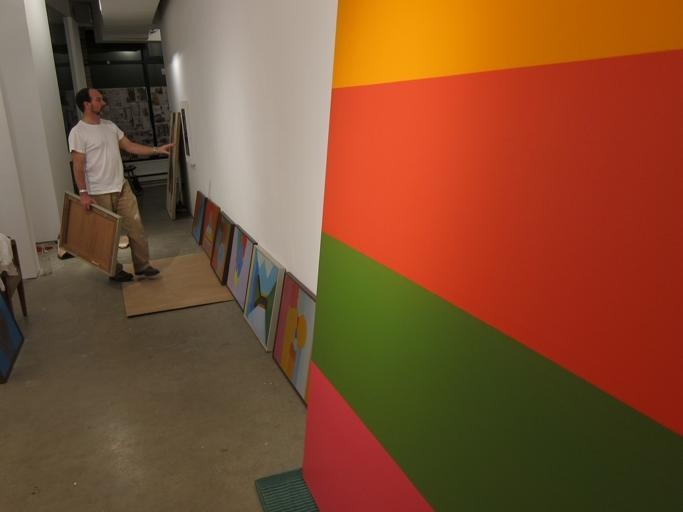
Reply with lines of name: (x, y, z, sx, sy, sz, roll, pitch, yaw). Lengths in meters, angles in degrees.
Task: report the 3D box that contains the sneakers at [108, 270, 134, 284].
sneakers: (-2.226, 0.201, 4.726, 0.191, 0.098, 0.119, -4, 23, -5)
